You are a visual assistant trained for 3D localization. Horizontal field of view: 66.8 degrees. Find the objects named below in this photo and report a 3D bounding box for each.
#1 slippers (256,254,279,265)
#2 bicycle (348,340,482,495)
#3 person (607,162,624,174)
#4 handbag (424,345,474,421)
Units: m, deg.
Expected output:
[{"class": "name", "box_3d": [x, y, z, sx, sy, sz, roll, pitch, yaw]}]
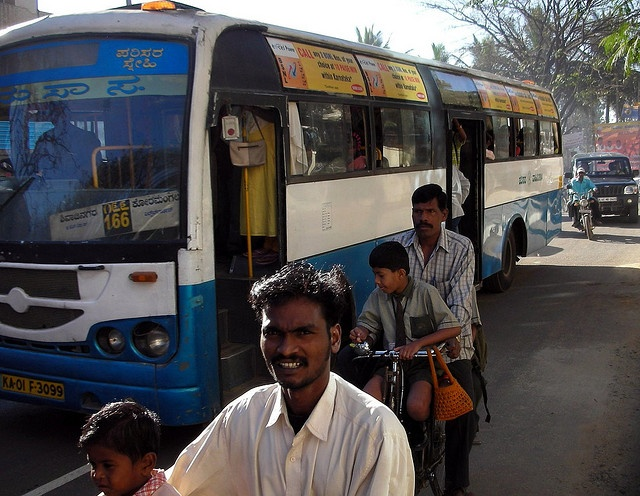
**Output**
[{"class": "slippers", "box_3d": [-0.539, 0.123, 5.246, 0.294, 0.137, 0.105, 2, -3, -21]}, {"class": "bicycle", "box_3d": [0.630, 0.980, 3.043, 0.514, 0.795, 1.224, -10, -10, 30]}, {"class": "person", "box_3d": [11.965, -3.201, 19.668, 0.539, 0.488, 0.826, 1, 5, 16]}, {"class": "handbag", "box_3d": [0.776, 0.835, 2.910, 0.237, 0.534, 0.301, -4, 3, 16]}]
